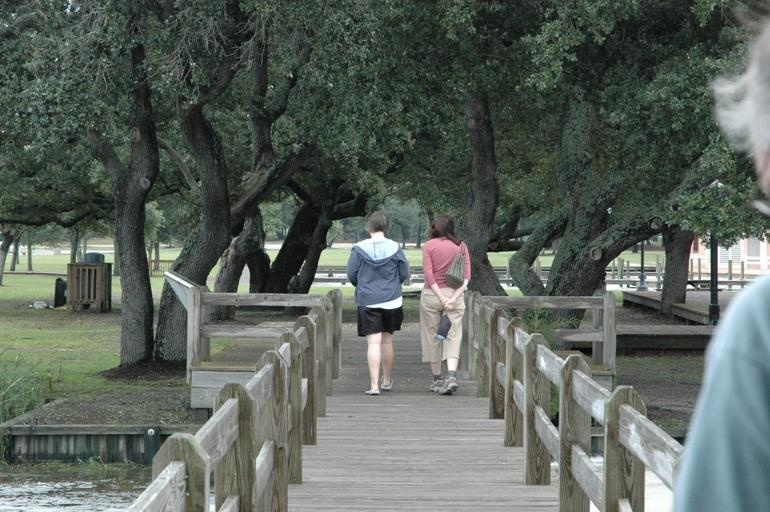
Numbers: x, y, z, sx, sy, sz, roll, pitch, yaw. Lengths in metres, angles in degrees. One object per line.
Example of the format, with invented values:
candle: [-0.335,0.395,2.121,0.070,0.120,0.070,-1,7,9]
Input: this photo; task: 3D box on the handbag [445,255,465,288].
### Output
handbag: [1.403,0.325,24.421,0.242,0.529,0.343,15,-38,11]

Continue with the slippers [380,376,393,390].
slippers: [0.031,2.663,25.545,0.274,0.307,0.733,0,-4,0]
